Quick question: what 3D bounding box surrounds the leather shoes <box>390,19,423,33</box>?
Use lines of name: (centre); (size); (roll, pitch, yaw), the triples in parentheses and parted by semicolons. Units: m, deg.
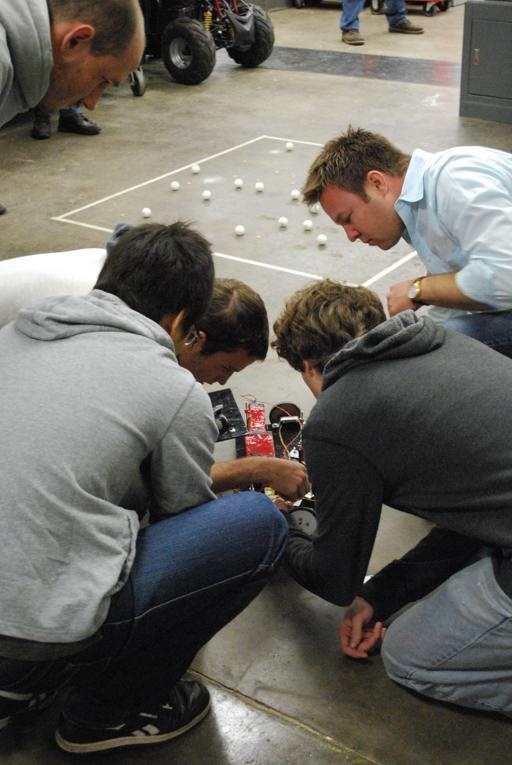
leather shoes: (2.818, -6.698, 11.503); (0.630, 0.259, 0.270); (5, 51, 6)

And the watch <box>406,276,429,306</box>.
watch: (0.646, -0.379, 2.518); (0.110, 0.109, 0.069); (10, -19, -36)

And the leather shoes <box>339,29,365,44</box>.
leather shoes: (1.721, -6.157, 10.878); (0.204, 0.214, 0.544); (-14, 39, -10)

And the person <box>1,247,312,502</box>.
person: (-0.240, -0.155, 1.888); (1.050, 0.244, 0.941); (17, 37, 17)
